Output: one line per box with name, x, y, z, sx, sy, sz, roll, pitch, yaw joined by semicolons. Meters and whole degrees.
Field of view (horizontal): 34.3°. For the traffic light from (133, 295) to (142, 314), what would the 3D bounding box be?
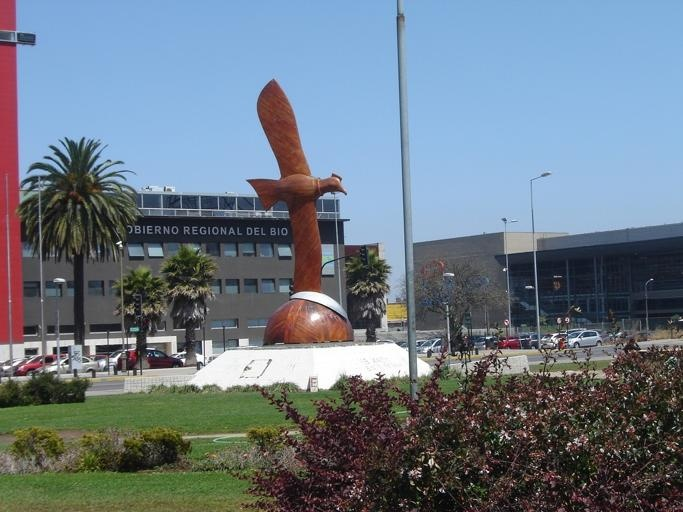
traffic light;-12.879;3.073;69.736;0.416;1.217;1.252;-3;2;-25
